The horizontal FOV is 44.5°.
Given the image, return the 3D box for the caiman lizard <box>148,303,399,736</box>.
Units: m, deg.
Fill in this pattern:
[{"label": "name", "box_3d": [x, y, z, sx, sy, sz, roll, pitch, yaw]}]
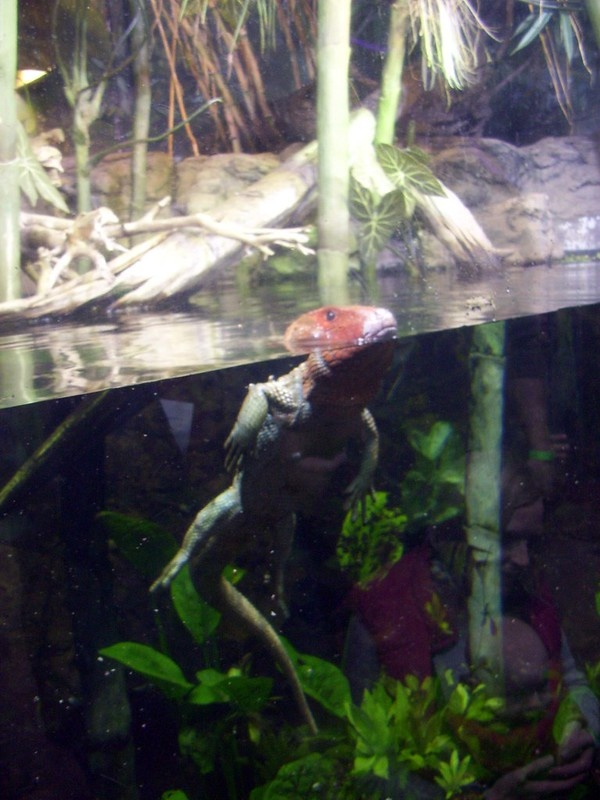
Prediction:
[{"label": "caiman lizard", "box_3d": [-0.056, 0.202, 1.538, 0.400, 0.848, 0.240, 16, 21, -33]}]
